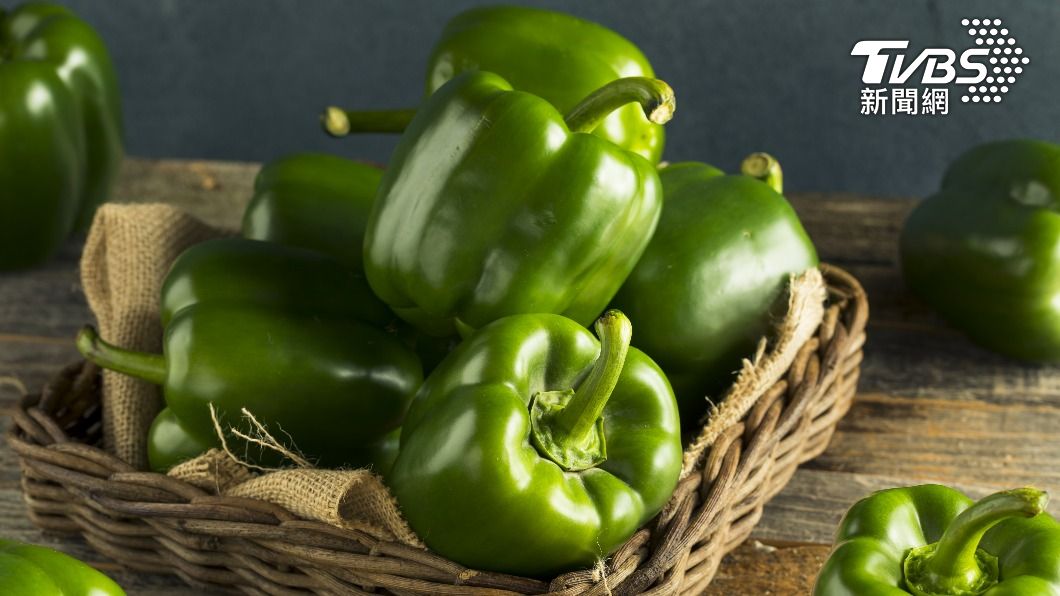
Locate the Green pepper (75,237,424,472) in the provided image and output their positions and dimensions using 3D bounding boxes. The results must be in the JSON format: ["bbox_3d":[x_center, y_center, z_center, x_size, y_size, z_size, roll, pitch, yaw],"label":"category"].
[{"bbox_3d":[-0.550,0.169,2.367,0.726,0.519,0.483,13,-19,-12],"label":"Green pepper"}]

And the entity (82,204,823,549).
[{"bbox_3d":[-0.434,0.158,2.151,0.813,0.293,1.012,-15,24,-43],"label":"entity"}]
